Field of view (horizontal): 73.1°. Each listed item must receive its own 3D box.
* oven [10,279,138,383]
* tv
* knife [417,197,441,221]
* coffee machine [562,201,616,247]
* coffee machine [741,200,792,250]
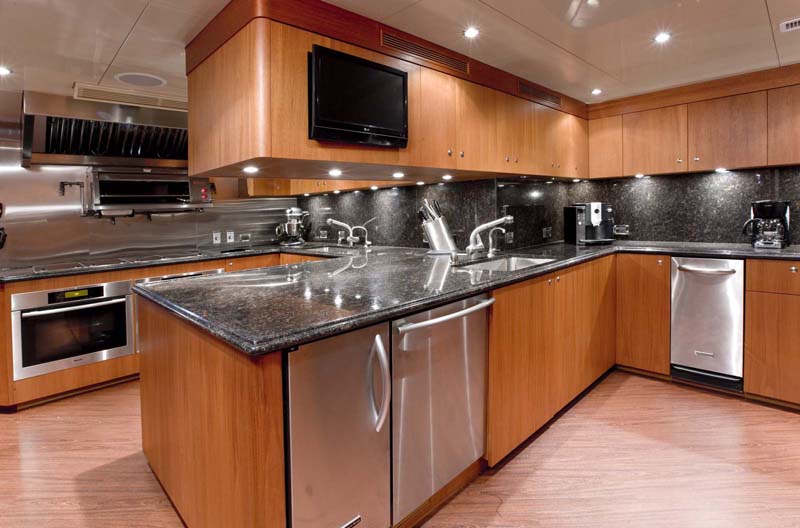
[{"bbox_3d":[-3.089,0.554,4.896,0.738,0.718,1.063,3,7,33],"label":"oven"},{"bbox_3d":[-0.310,-1.179,3.752,0.877,0.600,0.087,0,0,-33],"label":"tv"},{"bbox_3d":[0.254,-0.510,4.994,0.214,0.259,0.207,-5,5,-4],"label":"knife"},{"bbox_3d":[1.859,-0.404,5.358,0.469,0.410,0.235,3,7,16],"label":"coffee machine"},{"bbox_3d":[3.241,-0.350,4.892,0.457,0.587,0.492,2,7,43],"label":"coffee machine"}]
